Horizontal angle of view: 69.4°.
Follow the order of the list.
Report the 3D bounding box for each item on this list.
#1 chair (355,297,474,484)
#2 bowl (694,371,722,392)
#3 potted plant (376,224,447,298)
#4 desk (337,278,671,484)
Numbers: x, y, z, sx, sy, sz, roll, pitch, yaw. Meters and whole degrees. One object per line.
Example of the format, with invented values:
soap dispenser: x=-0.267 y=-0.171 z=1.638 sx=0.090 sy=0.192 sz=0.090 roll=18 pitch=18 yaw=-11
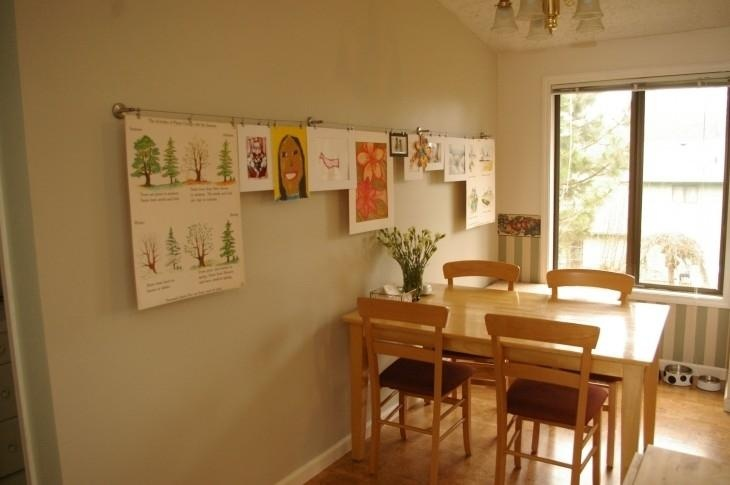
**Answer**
chair: x=0.349 y=0.872 z=3.413 sx=0.676 sy=1.177 sz=0.765 roll=0 pitch=8 yaw=12
bowl: x=2.812 y=1.148 z=4.316 sx=0.186 sy=0.087 sz=0.222 roll=3 pitch=9 yaw=32
potted plant: x=0.350 y=0.133 z=3.806 sx=0.454 sy=0.535 sz=0.491 roll=1 pitch=2 yaw=24
desk: x=1.154 y=0.503 z=3.259 sx=1.800 sy=1.036 sz=1.090 roll=2 pitch=4 yaw=32
